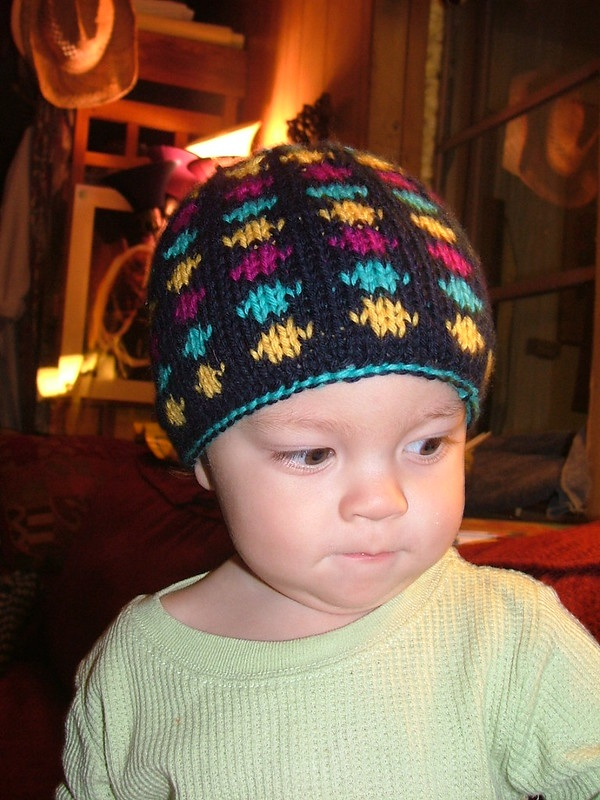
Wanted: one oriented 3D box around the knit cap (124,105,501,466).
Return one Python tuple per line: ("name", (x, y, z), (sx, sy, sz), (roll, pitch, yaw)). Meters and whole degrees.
("knit cap", (0.009, -0.146, 0.956), (0.453, 0.207, 0.402), (-9, 86, 2))
